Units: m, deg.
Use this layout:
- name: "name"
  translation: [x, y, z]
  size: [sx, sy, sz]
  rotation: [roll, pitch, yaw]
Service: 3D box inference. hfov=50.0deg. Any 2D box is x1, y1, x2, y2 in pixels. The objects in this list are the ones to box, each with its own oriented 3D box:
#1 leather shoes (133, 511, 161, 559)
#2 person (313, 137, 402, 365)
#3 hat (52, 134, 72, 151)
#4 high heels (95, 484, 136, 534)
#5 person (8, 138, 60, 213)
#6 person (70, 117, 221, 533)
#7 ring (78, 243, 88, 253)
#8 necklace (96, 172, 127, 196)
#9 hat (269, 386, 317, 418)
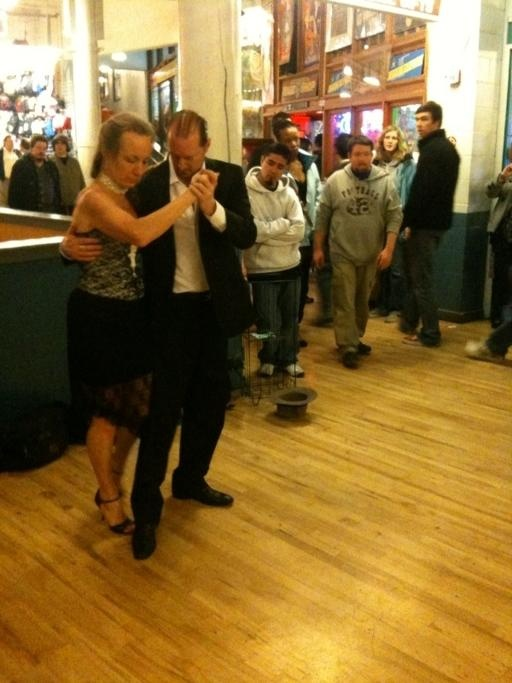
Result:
- name: "leather shoes"
  translation: [-0.388, 0.687, 1.951]
  size: [0.069, 0.180, 0.070]
  rotation: [10, -4, -13]
- name: "person"
  translation: [0.814, -0.725, 4.470]
  size: [0.619, 1.792, 0.493]
  rotation: [-6, 10, -35]
- name: "hat"
  translation: [-2.583, -2.697, 7.362]
  size: [0.216, 0.237, 0.266]
  rotation: [-1, -14, -11]
- name: "high heels"
  translation: [-0.568, 0.630, 2.151]
  size: [0.254, 0.128, 0.086]
  rotation: [18, 27, 37]
- name: "person"
  translation: [-2.748, -2.088, 6.805]
  size: [0.589, 0.911, 0.331]
  rotation: [-4, 9, -23]
- name: "person"
  translation: [-0.477, 0.021, 1.931]
  size: [0.350, 1.461, 0.790]
  rotation: [-4, 9, -26]
- name: "ring"
  translation: [-0.516, -0.280, 1.639]
  size: [0.025, 0.022, 0.009]
  rotation: [-15, 21, 14]
- name: "necklace"
  translation: [-0.434, -0.483, 1.689]
  size: [0.054, 0.061, 0.122]
  rotation: [4, 10, 29]
- name: "hat"
  translation: [0.239, 0.381, 3.402]
  size: [0.252, 0.146, 0.307]
  rotation: [0, 8, 3]
